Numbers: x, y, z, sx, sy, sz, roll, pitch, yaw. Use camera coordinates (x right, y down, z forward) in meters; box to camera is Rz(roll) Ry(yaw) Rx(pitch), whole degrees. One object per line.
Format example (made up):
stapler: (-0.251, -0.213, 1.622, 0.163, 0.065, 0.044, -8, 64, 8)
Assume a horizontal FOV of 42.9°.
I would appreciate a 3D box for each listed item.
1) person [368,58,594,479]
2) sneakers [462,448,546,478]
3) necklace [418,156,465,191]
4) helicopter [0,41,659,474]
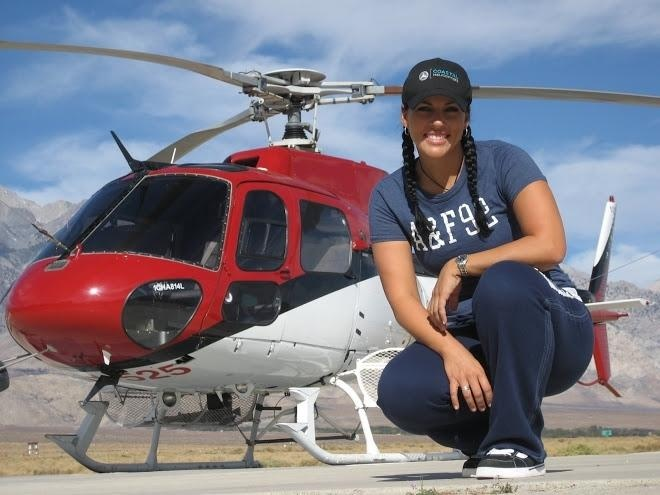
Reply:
person: (0.962, 0.131, 5.884, 1.342, 2.909, 0.905, 5, 7, 42)
sneakers: (1.209, 1.415, 5.551, 0.607, 0.166, 0.221, 3, -10, -10)
necklace: (0.791, -0.533, 6.105, 0.289, 0.263, 0.164, 0, 7, 6)
helicopter: (0.693, 0.361, 10.122, 7.085, 2.493, 6.085, 11, -15, -44)
